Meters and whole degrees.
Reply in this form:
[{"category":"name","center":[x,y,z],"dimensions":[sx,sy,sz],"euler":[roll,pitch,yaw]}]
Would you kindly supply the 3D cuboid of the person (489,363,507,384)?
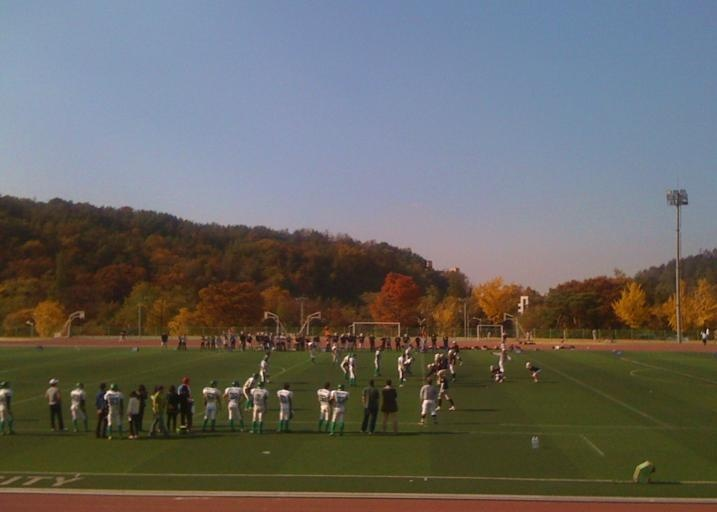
[{"category":"person","center":[11.778,10.137,81.494],"dimensions":[1.066,1.458,2.716],"euler":[0,-8,6]}]
